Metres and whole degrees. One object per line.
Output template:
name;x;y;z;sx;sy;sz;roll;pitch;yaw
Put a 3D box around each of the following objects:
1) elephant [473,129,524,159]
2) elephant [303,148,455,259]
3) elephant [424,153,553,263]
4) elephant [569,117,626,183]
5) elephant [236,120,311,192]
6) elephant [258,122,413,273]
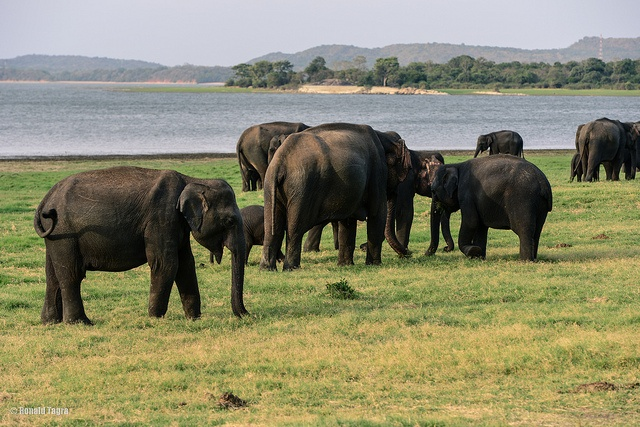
elephant;7.248;-2.627;48.936;2.404;1.219;0.978;0;-3;40
elephant;2.008;-0.276;33.013;2.279;2.704;5.304;-4;-10;45
elephant;4.365;-0.146;31.400;3.608;2.538;1.700;1;1;41
elephant;9.885;-2.185;41.330;1.783;2.202;3.928;6;7;37
elephant;-1.102;-2.067;40.265;3.838;2.064;1.520;-12;5;-33
elephant;0.668;-0.527;31.581;5.231;3.499;3.160;-5;9;-45
